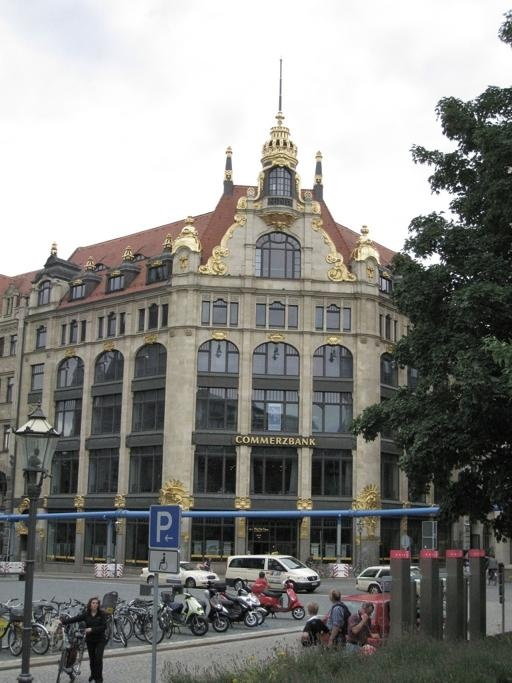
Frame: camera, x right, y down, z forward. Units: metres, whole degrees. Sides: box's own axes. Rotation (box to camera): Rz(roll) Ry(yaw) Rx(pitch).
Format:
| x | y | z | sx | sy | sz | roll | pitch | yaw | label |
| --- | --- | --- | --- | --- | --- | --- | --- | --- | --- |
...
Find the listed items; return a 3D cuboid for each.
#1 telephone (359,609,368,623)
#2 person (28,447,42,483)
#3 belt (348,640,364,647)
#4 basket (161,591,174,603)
| x | y | z | sx | sy | sz | roll | pitch | yaw | label |
| --- | --- | --- | --- | --- | --- | --- | --- | --- | --- |
| 2.133 | 5.429 | 17.530 | 0.160 | 0.193 | 0.068 | 12 | -52 | -8 | telephone |
| -3.792 | 2.172 | 15.243 | 0.257 | 0.653 | 0.495 | 2 | -17 | -8 | person |
| 1.891 | 5.817 | 17.071 | 0.271 | 0.056 | 0.249 | -3 | -7 | 41 | belt |
| -2.414 | 6.908 | 24.254 | 0.282 | 0.316 | 0.473 | 2 | -9 | 1 | basket |
